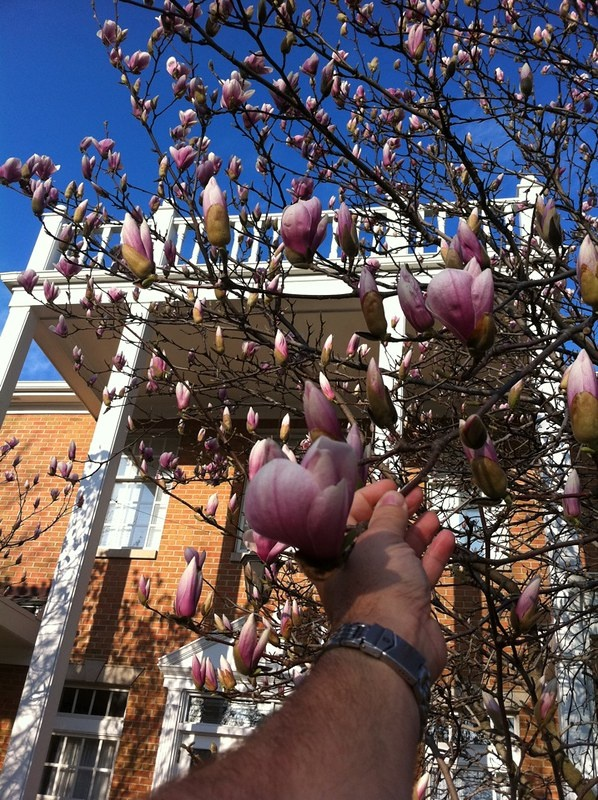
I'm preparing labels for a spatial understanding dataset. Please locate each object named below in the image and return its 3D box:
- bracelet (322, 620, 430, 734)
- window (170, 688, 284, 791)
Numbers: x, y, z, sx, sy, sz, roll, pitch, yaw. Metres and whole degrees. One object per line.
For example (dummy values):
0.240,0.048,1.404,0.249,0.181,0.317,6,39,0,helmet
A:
0.101,0.383,0.916,0.113,0.071,0.124,51,-38,-9,bracelet
-0.807,3.747,7.543,1.057,1.089,0.117,5,1,3,window
